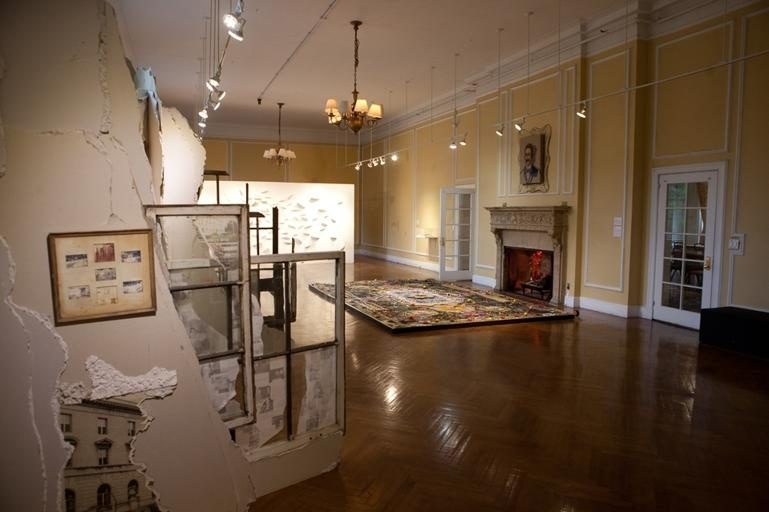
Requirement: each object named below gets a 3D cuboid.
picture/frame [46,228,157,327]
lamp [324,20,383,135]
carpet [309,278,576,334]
[{"bbox_3d":[-1.701,0.121,3.093,0.548,0.580,0.040,-3,4,-28],"label":"picture/frame"},{"bbox_3d":[-0.452,-2.844,8.247,0.870,1.610,0.808,-8,15,-43],"label":"lamp"},{"bbox_3d":[0.936,0.747,8.972,3.240,0.297,3.630,-5,13,-26],"label":"carpet"}]
